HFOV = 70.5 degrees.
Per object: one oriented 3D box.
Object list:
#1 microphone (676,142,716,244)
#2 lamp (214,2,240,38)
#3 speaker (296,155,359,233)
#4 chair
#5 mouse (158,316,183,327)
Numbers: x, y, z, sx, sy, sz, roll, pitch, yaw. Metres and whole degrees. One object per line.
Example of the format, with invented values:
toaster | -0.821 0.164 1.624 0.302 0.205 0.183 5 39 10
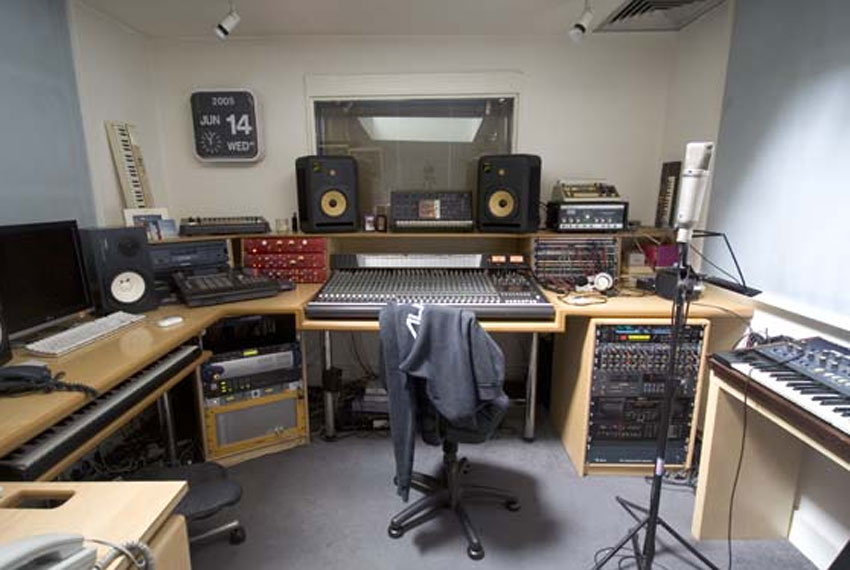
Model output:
microphone | 1.282 -0.434 2.871 0.128 0.473 0.267 4 15 24
lamp | -1.223 -1.647 3.706 0.146 0.114 0.222 17 56 6
speaker | -0.631 -0.600 3.923 0.438 0.620 0.325 -1 10 -8
chair | 0.129 0.744 3.202 0.691 1.339 0.407 0 14 7
mouse | -1.390 0.203 3.306 0.083 0.020 0.065 -9 21 -26
